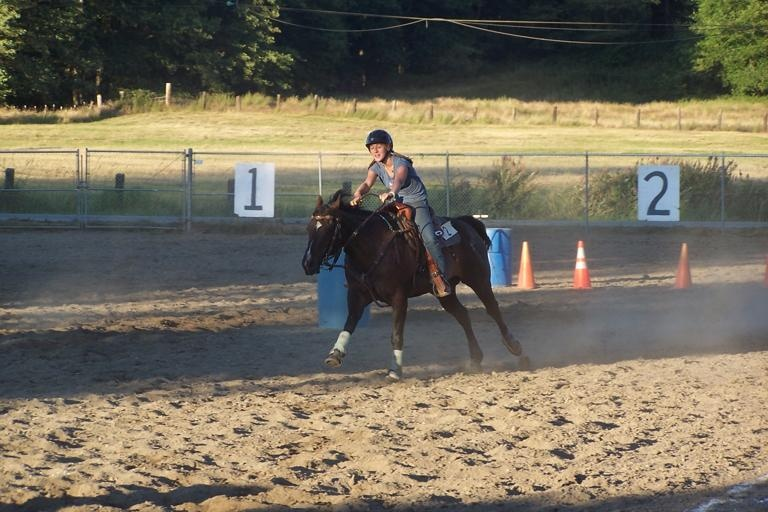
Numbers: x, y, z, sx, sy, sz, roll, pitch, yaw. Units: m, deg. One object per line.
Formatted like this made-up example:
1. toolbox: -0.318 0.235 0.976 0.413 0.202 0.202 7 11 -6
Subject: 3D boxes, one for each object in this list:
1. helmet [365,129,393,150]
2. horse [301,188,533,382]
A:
1. helmet: -0.080 -2.785 29.731 0.486 0.404 0.576 2 12 22
2. horse: 0.732 0.723 30.792 1.977 4.221 7.127 -11 -8 42
